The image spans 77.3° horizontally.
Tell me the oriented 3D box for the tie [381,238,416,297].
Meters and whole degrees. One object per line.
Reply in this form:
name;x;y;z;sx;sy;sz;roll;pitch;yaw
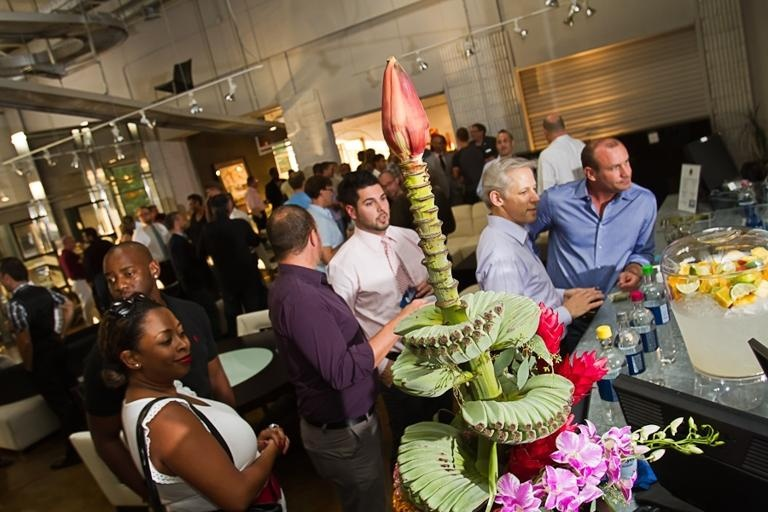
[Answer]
tie;0.096;0.065;3.056;0.215;0.366;0.083;-20;8;-20

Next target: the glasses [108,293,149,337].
glasses;-1.056;0.231;1.997;0.123;0.071;0.147;-11;2;-6
